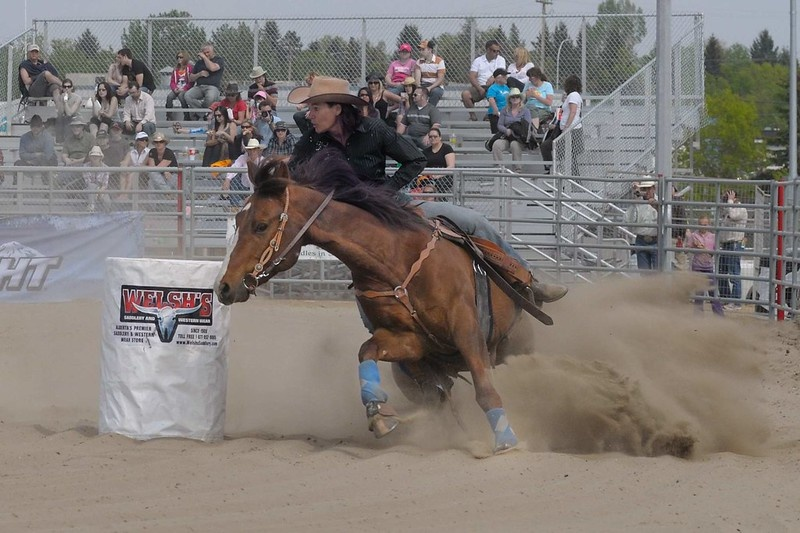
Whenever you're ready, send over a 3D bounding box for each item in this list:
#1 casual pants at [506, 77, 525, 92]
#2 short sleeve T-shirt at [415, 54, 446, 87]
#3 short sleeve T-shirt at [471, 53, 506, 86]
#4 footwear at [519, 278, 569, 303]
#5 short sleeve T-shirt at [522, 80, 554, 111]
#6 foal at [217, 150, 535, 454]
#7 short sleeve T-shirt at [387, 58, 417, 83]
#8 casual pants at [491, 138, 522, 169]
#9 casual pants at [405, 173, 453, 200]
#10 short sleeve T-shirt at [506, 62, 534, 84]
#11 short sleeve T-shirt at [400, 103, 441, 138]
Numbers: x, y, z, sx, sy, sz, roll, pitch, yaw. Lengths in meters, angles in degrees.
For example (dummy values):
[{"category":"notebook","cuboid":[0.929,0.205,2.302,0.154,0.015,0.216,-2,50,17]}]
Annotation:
[{"category":"casual pants","cuboid":[2.546,-4.049,35.031,0.190,0.241,0.451,16,11,-45]},{"category":"short sleeve T-shirt","cuboid":[0.667,-4.412,35.818,0.909,1.004,0.547,1,-7,0]},{"category":"short sleeve T-shirt","cuboid":[1.984,-4.549,36.609,1.005,0.988,0.585,1,-1,8]},{"category":"footwear","cuboid":[2.201,0.373,24.374,0.755,0.297,0.358,-5,-41,4]},{"category":"short sleeve T-shirt","cuboid":[3.014,-3.676,34.305,0.867,0.919,0.514,0,-3,1]},{"category":"foal","cuboid":[-0.288,0.415,23.370,4.265,4.158,1.417,2,8,-2]},{"category":"short sleeve T-shirt","cuboid":[0.041,-4.382,35.459,0.611,0.634,0.377,17,-8,12]},{"category":"casual pants","cuboid":[2.237,-2.352,33.313,0.608,0.839,0.647,-1,-28,16]},{"category":"casual pants","cuboid":[0.532,-1.506,29.521,0.710,0.784,0.042,1,-5,1]},{"category":"short sleeve T-shirt","cuboid":[2.669,-4.287,35.128,0.594,0.581,0.347,-2,-10,34]},{"category":"short sleeve T-shirt","cuboid":[0.385,-3.029,32.887,0.828,0.763,0.468,2,-8,17]}]
